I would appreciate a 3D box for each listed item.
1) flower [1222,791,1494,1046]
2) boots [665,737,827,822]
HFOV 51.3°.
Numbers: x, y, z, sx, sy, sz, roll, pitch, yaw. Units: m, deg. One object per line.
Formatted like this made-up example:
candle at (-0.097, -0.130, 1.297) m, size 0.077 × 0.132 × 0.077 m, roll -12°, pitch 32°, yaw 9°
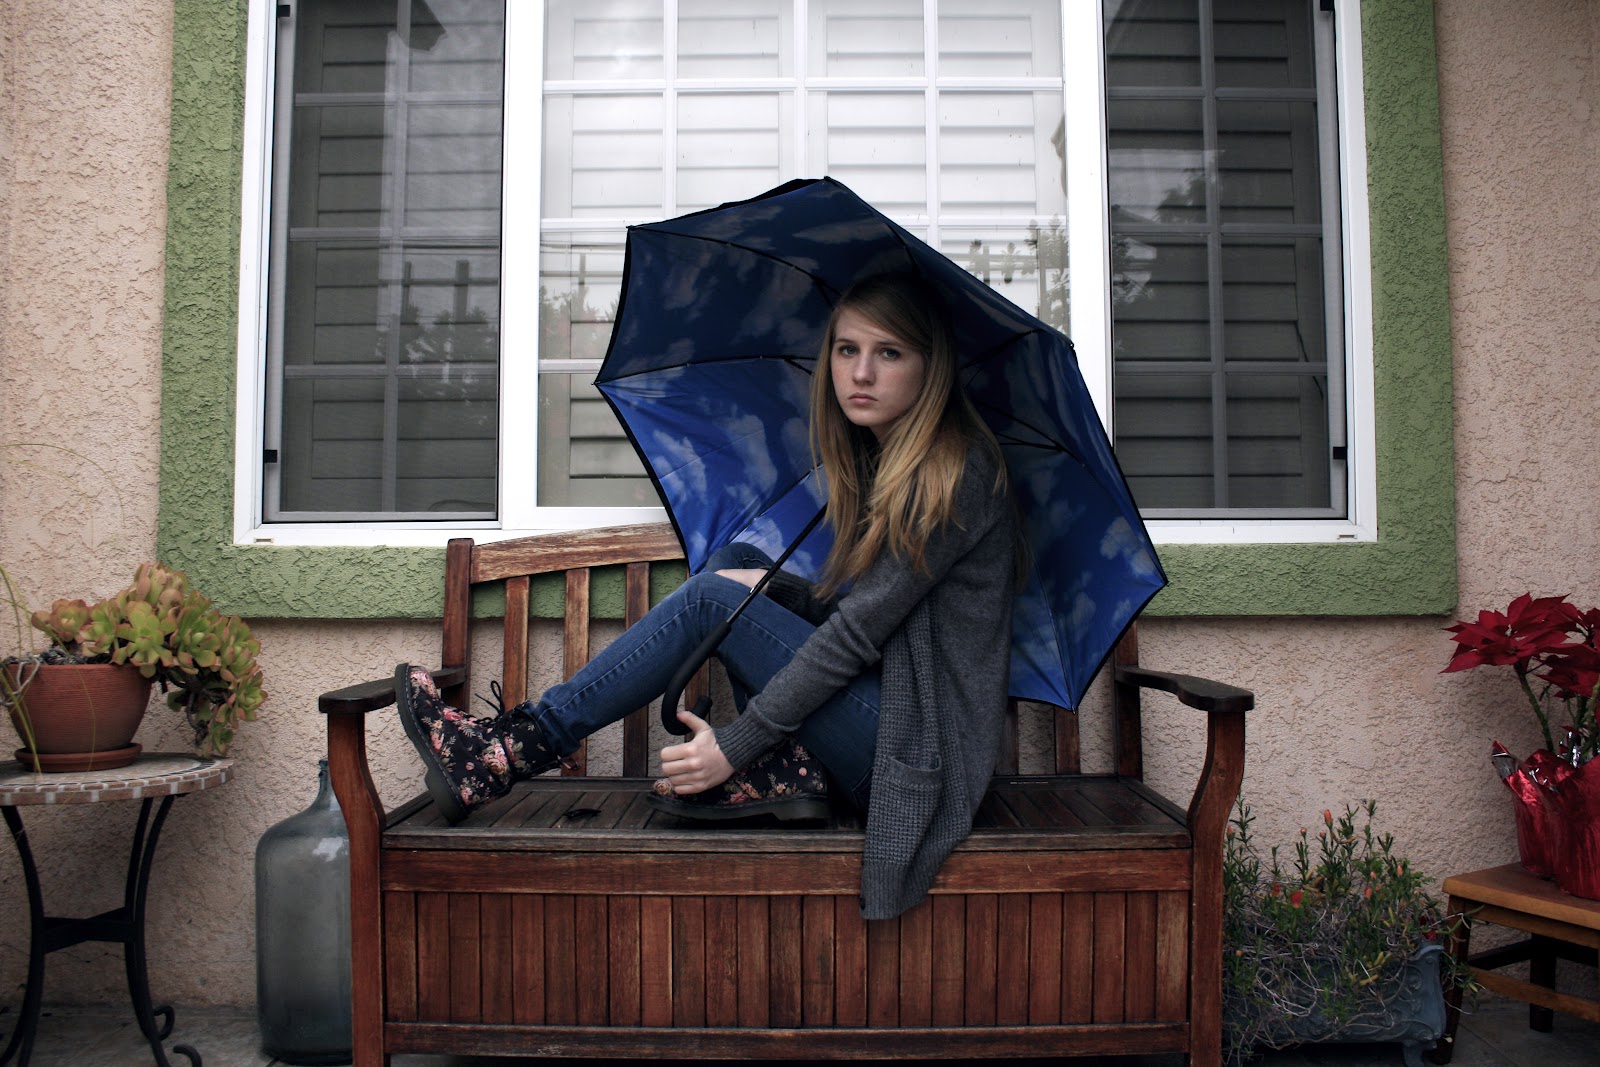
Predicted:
flower at (1.624, 1.268, 5.294) m, size 0.739 × 0.763 × 0.325 m, roll -1°, pitch -20°, yaw 2°
boots at (-0.179, 0.736, 4.869) m, size 0.515 × 0.258 × 0.194 m, roll 1°, pitch -7°, yaw -2°
